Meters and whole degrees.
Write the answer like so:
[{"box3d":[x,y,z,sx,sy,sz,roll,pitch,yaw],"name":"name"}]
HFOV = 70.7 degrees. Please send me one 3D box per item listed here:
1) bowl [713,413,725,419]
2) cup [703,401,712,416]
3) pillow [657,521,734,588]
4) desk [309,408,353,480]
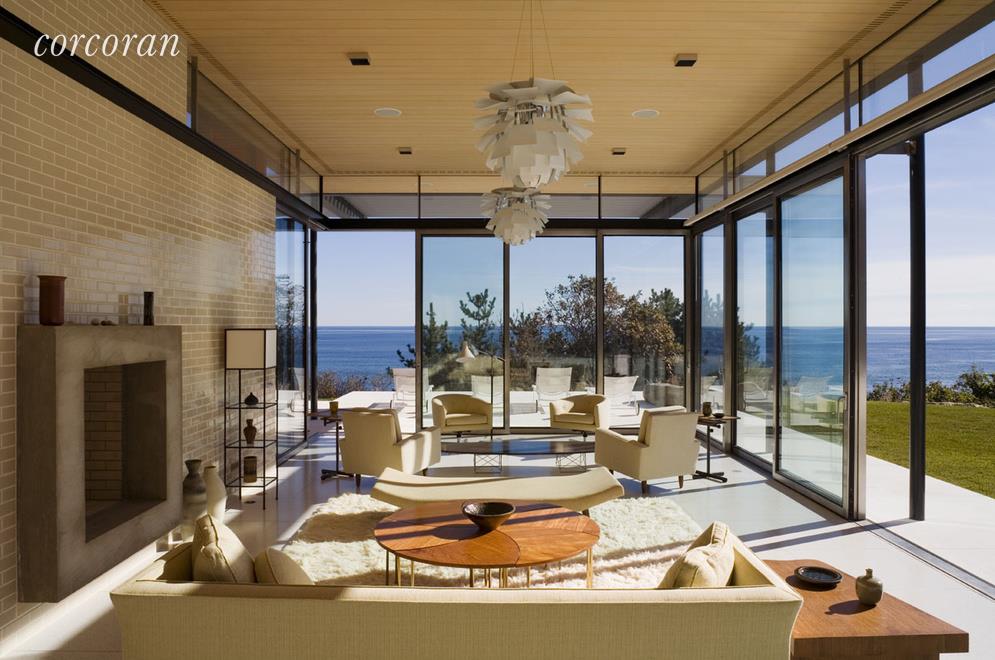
[{"box3d":[2.770,1.056,8.652,0.114,0.042,0.104,0,-9,0],"name":"bowl"},{"box3d":[2.624,0.962,8.631,0.092,0.163,0.221,-2,-1,22],"name":"cup"},{"box3d":[1.380,1.509,4.647,0.192,0.463,0.473,30,39,7],"name":"pillow"},{"box3d":[-2.069,1.451,9.023,0.970,0.848,0.930,1,-3,-14],"name":"desk"}]
